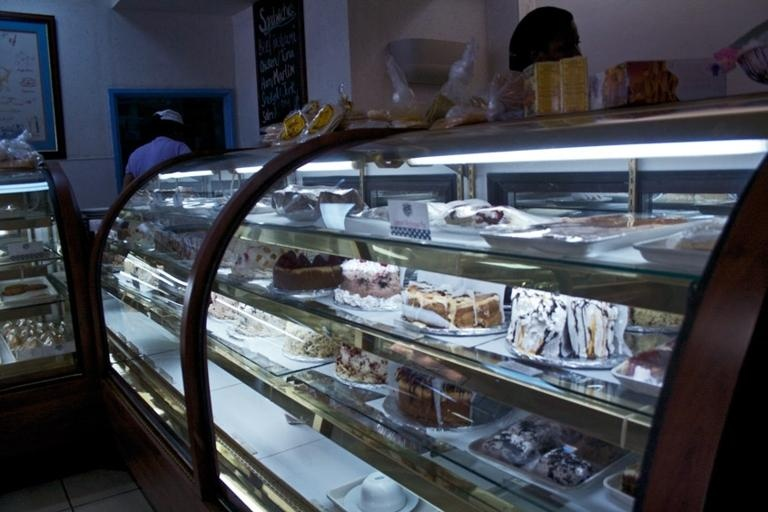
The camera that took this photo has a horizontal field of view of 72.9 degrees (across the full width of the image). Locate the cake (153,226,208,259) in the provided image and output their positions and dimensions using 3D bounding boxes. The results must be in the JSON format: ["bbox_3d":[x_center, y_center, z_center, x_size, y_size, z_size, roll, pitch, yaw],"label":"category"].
[{"bbox_3d":[-0.722,-0.051,1.880,0.188,0.168,0.065,14,18,32],"label":"cake"}]

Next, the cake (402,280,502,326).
[{"bbox_3d":[0.166,0.105,1.307,0.189,0.061,0.113,5,9,40],"label":"cake"}]

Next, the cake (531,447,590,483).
[{"bbox_3d":[0.383,0.446,1.110,0.075,0.053,0.100,-10,15,-34],"label":"cake"}]

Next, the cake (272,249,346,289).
[{"bbox_3d":[-0.228,0.028,1.639,0.157,0.068,0.155,0,2,36],"label":"cake"}]

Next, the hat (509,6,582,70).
[{"bbox_3d":[0.413,-0.558,1.329,0.157,0.160,0.197,-1,12,4],"label":"hat"}]

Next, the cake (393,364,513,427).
[{"bbox_3d":[0.147,0.338,1.306,0.201,0.053,0.191,2,3,-24],"label":"cake"}]

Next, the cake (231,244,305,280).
[{"bbox_3d":[-0.380,0.010,1.643,0.169,0.060,0.126,1,6,32],"label":"cake"}]

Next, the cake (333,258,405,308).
[{"bbox_3d":[-0.047,0.079,1.506,0.207,0.109,0.148,8,11,43],"label":"cake"}]
